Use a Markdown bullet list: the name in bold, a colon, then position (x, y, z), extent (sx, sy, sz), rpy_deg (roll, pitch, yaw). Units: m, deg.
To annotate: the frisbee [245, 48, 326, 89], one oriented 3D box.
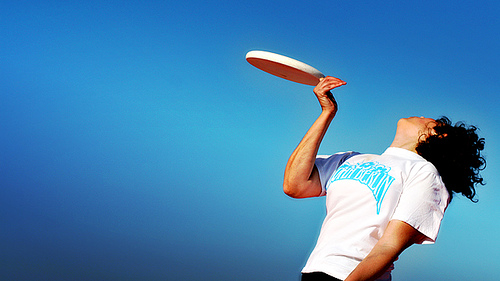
- **frisbee**: position (0.273, -0.577, 3.946), extent (0.450, 0.085, 0.423), rpy_deg (19, -2, -35)
